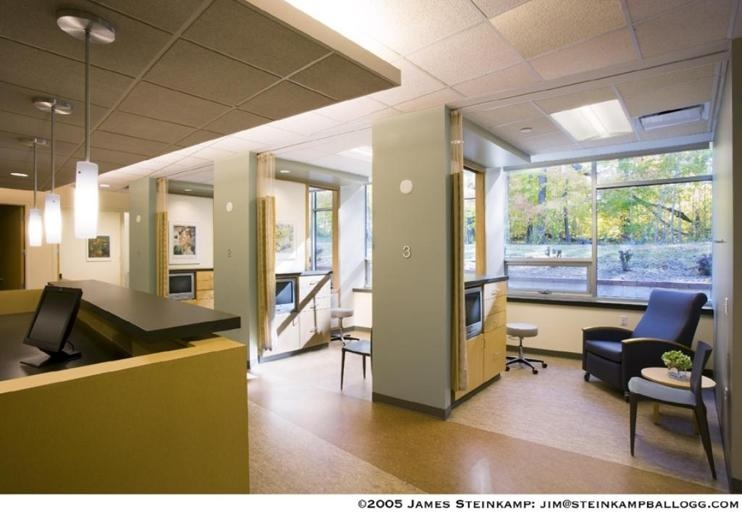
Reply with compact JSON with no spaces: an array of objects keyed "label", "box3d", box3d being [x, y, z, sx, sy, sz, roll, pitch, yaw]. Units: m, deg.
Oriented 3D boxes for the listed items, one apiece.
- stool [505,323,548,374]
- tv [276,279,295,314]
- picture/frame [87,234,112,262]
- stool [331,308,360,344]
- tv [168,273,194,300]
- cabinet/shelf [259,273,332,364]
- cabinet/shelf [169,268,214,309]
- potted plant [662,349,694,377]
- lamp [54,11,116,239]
[{"label":"stool","box3d":[2.101,1.249,7.183,0.645,0.578,0.642,-5,7,-17]},{"label":"tv","box3d":[-1.304,0.608,7.717,0.282,0.525,0.533,0,-4,25]},{"label":"picture/frame","box3d":[-5.734,-0.158,10.707,0.048,0.656,0.598,-4,1,32]},{"label":"stool","box3d":[-0.495,1.219,8.837,0.549,0.545,0.569,5,-6,-41]},{"label":"tv","box3d":[-3.441,0.553,9.186,0.285,0.474,0.514,-2,-2,40]},{"label":"cabinet/shelf","box3d":[-1.185,0.968,7.732,0.517,1.126,1.337,-2,-2,29]},{"label":"cabinet/shelf","box3d":[-3.038,0.544,8.573,0.297,0.699,0.782,-2,-3,32]},{"label":"potted plant","box3d":[3.160,1.090,5.230,0.289,0.287,0.295,-3,4,-30]},{"label":"lamp","box3d":[-2.257,-0.959,4.116,0.382,1.620,1.359,-6,11,-30]}]
